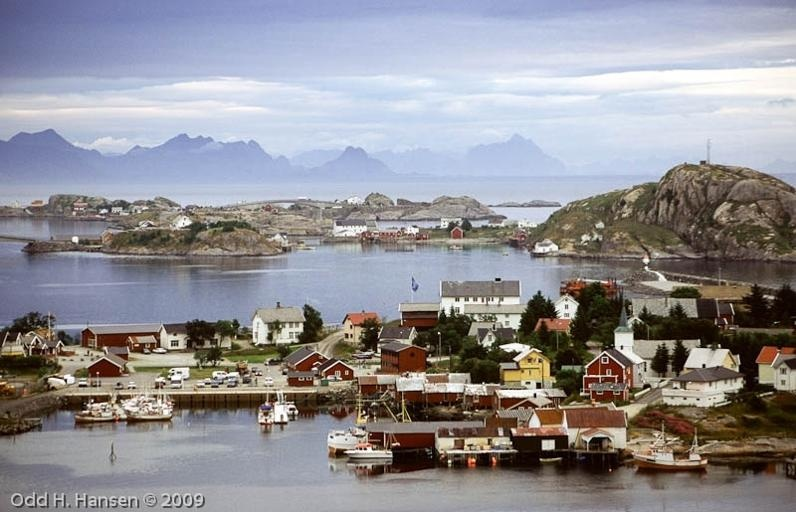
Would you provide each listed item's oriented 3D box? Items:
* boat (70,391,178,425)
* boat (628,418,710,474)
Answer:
[{"bbox_3d":[-13.777,7.879,59.116,3.781,1.084,1.919,-2,4,-5],"label":"boat"},{"bbox_3d":[13.123,9.185,53.270,4.420,2.592,1.305,2,-3,-8],"label":"boat"}]
